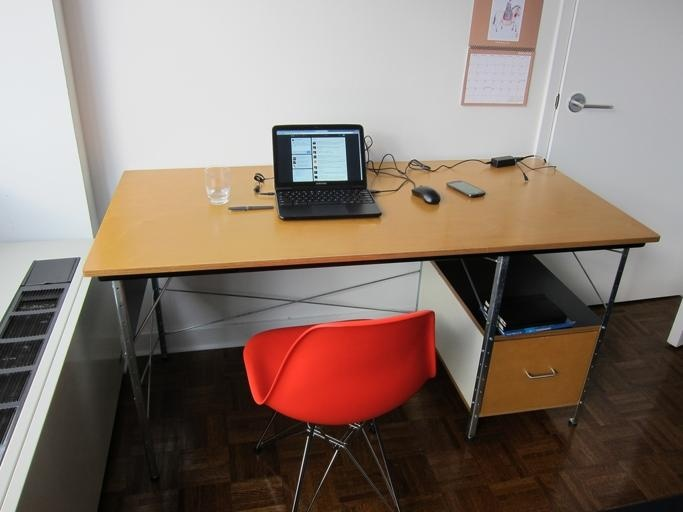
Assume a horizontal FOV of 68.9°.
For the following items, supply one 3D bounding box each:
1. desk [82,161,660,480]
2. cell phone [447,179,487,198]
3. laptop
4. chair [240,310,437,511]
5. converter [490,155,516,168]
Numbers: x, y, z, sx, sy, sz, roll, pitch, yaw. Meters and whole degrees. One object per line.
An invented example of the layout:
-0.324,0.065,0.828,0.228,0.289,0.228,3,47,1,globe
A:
0.026,0.545,2.505,2.509,1.323,1.205,-7,38,-9,desk
0.541,-0.295,2.173,0.120,0.026,0.226,-7,23,-20,cell phone
-0.069,-0.330,2.053,0.440,0.296,0.409,-6,39,-9,laptop
-0.010,0.627,1.878,0.440,0.750,0.560,-5,40,-11,chair
0.786,-0.464,2.431,0.101,0.040,0.056,-4,27,-8,converter
